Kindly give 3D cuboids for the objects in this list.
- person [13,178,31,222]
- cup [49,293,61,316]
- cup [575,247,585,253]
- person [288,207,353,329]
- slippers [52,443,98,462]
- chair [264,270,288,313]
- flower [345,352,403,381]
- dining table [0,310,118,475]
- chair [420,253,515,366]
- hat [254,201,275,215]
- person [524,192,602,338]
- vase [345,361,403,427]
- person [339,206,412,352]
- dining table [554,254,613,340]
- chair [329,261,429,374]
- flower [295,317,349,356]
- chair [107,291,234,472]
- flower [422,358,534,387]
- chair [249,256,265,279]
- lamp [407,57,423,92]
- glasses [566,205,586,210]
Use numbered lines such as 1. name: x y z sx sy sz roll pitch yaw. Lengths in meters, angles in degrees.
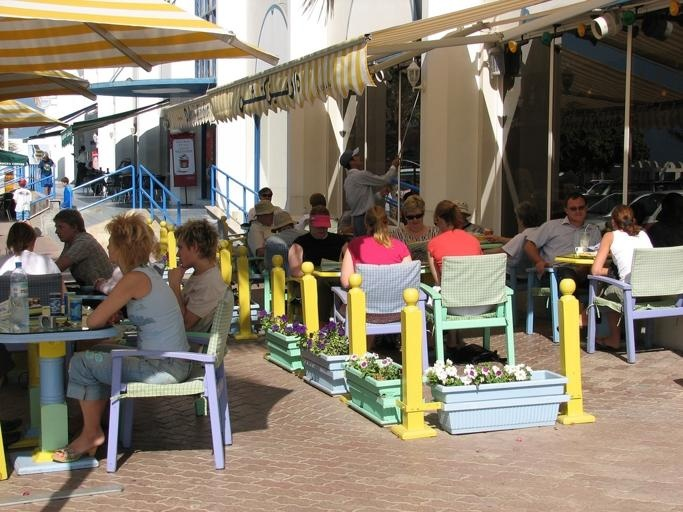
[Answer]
1. person: -11.475 -1.823 24.363 0.582 1.725 0.558 -6 32 -36
2. cup: -2.108 0.336 4.996 0.070 0.152 0.104 -4 8 -25
3. cup: 2.963 -0.066 8.361 0.140 0.083 0.076 5 -5 -42
4. person: -0.191 0.236 8.367 0.834 1.592 0.961 -7 8 -23
5. slippers: -1.977 1.362 5.030 0.234 0.068 0.113 10 2 -24
6. chair: -0.805 0.402 8.409 0.276 0.613 0.910 -1 8 -6
7. flower: 0.300 0.895 5.909 0.198 0.116 0.312 0 5 -27
8. dining table: -2.139 0.931 5.091 0.925 0.972 0.946 1 0 -15
9. chair: 1.284 0.498 7.304 1.004 1.411 0.993 -2 7 -5
10. hat: -1.144 -0.672 10.152 0.260 0.190 0.349 -1 8 -6
11. person: 2.988 -0.011 8.810 1.010 1.586 0.854 14 -4 -19
12. vase: 0.294 1.115 5.880 0.305 0.210 0.448 -3 11 -25
13. person: 0.313 0.064 7.439 0.635 1.383 0.739 -5 31 -15
14. dining table: 2.920 0.500 8.533 0.948 1.088 0.990 1 2 20
15. chair: 0.401 0.561 7.087 0.972 1.310 0.929 -4 12 -11
16. flower: -0.143 0.780 6.674 0.316 0.171 0.331 -15 21 4
17. chair: -1.475 0.872 5.624 1.087 1.575 1.108 1 -2 -6
18. flower: 1.113 0.906 5.574 0.626 0.130 0.369 0 -2 -20
19. chair: -1.220 0.143 9.965 0.244 0.342 0.328 0 1 1
20. lamp: 1.421 -3.306 13.108 0.258 0.579 0.772 0 8 7
21. glasses: 3.054 -0.585 8.802 0.212 0.066 0.138 3 9 26
